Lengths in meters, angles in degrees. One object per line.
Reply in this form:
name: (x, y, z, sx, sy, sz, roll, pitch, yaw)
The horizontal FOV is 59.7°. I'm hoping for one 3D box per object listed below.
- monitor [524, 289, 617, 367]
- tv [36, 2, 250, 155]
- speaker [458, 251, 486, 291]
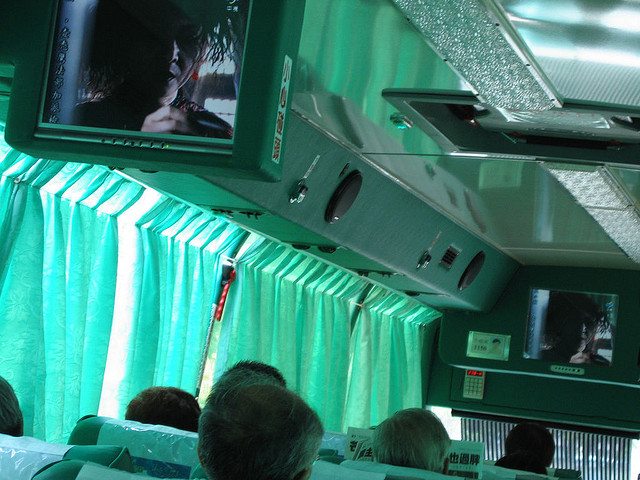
monitor: (2.033, 0.689, 4.490, 0.085, 0.698, 0.876, 10, -8, -30)
tv: (-0.477, -0.436, 1.562, 0.551, 0.332, 0.021, 3, -14, 12)
speaker: (1.130, 0.233, 4.181, 0.155, 0.279, 0.292, 12, -16, 5)
